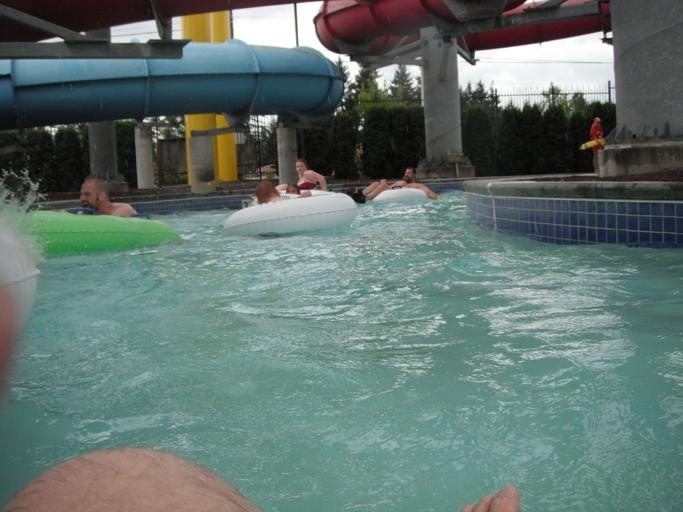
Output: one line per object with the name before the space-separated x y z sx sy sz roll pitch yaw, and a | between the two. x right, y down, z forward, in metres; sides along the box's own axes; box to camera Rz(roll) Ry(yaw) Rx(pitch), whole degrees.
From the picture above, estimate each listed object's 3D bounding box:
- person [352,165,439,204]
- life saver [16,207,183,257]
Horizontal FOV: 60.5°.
person | 0.780 -1.201 10.364 1.027 0.424 1.033 -7 12 -26
life saver | -2.327 -0.214 5.673 0.440 0.230 0.898 18 8 39
